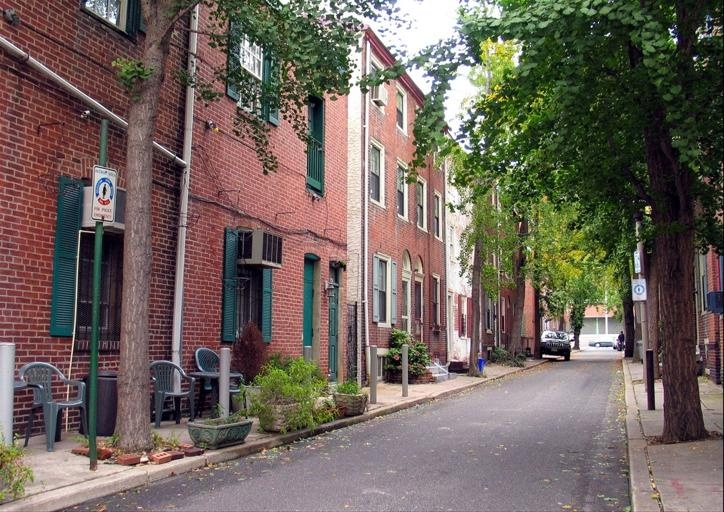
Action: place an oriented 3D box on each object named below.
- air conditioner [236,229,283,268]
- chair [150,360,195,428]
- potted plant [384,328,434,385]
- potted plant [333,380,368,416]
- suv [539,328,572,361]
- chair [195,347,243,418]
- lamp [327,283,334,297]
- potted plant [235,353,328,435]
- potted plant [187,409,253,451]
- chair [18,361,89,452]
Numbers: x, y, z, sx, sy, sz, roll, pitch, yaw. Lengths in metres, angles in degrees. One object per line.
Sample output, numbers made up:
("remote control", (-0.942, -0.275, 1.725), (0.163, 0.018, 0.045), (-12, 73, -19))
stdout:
("air conditioner", (-2.355, -0.143, 16.350), (0.572, 0.830, 1.158), (-2, -7, 20))
("chair", (-3.668, 2.557, 13.318), (0.835, 1.216, 0.963), (-5, -9, 21))
("potted plant", (1.593, 3.504, 24.286), (1.424, 1.923, 1.850), (-3, -6, 25))
("potted plant", (-0.327, 3.111, 15.531), (0.619, 0.891, 0.705), (-4, -6, 33))
("suv", (12.891, 5.956, 46.708), (1.969, 1.810, 2.707), (-1, -4, 15))
("chair", (-3.025, 2.660, 14.554), (0.977, 1.357, 1.013), (1, -5, 10))
("lamp", (-0.921, 0.988, 20.319), (0.331, 0.387, 0.322), (2, -9, -10))
("potted plant", (-1.408, 2.801, 13.711), (1.202, 1.203, 1.652), (-6, -8, 5))
("potted plant", (-2.336, 2.909, 11.750), (0.481, 0.375, 0.940), (-2, -3, 33))
("chair", (-5.031, 2.431, 11.445), (0.943, 1.423, 0.950), (-8, -10, 40))
